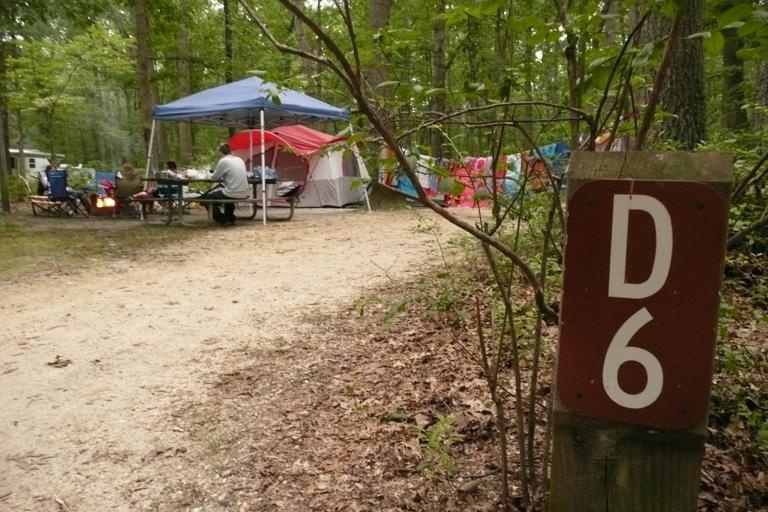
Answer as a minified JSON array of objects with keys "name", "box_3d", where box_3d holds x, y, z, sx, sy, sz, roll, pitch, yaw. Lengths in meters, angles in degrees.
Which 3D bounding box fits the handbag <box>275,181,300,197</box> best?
[{"name":"handbag","box_3d":[-1.852,-1.285,12.892,0.359,0.161,0.480,-5,7,-27]}]

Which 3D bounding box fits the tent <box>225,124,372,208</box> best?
[{"name":"tent","box_3d":[-1.805,-2.058,15.435,3.317,1.370,3.205,11,21,26]}]
